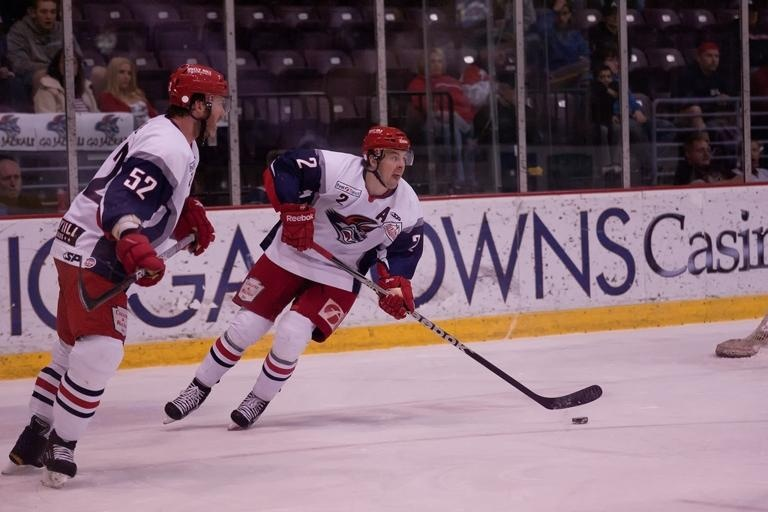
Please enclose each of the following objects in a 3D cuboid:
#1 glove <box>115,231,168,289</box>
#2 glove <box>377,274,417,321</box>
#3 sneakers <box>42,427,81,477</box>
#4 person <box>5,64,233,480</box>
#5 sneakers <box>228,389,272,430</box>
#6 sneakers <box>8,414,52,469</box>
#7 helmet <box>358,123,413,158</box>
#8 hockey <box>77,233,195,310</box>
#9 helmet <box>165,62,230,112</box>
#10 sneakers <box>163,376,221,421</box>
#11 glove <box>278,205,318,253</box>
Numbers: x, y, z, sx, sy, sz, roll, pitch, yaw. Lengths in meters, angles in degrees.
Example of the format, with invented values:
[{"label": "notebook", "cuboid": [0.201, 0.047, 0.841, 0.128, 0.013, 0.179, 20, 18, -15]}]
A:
[{"label": "glove", "cuboid": [-1.285, 0.010, 5.692, 0.235, 0.295, 0.196, -1, 5, -14]}, {"label": "glove", "cuboid": [0.076, 0.248, 6.524, 0.238, 0.238, 0.103, -45, -7, 17]}, {"label": "sneakers", "cuboid": [-1.712, 1.049, 5.722, 0.167, 0.252, 0.131, -2, 5, -17]}, {"label": "person", "cuboid": [-1.466, 0.080, 5.861, 1.197, 2.249, 0.597, -1, 6, -14]}, {"label": "sneakers", "cuboid": [-0.794, 0.915, 6.457, 0.260, 0.131, 0.090, -42, -4, -37]}, {"label": "sneakers", "cuboid": [-1.885, 1.020, 5.921, 0.176, 0.136, 0.398, -51, 14, 14]}, {"label": "helmet", "cuboid": [0.022, -0.701, 6.506, 0.230, 0.208, 0.180, 1, 4, 13]}, {"label": "hockey", "cuboid": [-1.360, 0.114, 5.805, 0.826, 0.212, 0.058, -31, 10, -11]}, {"label": "helmet", "cuboid": [-1.040, -0.944, 6.065, 0.302, 0.216, 0.231, 21, -2, -21]}, {"label": "sneakers", "cuboid": [-1.134, 0.824, 6.500, 0.390, 0.143, 0.161, -48, -6, -31]}, {"label": "glove", "cuboid": [-0.513, -0.167, 6.351, 0.200, 0.275, 0.103, 0, 5, -2]}]
